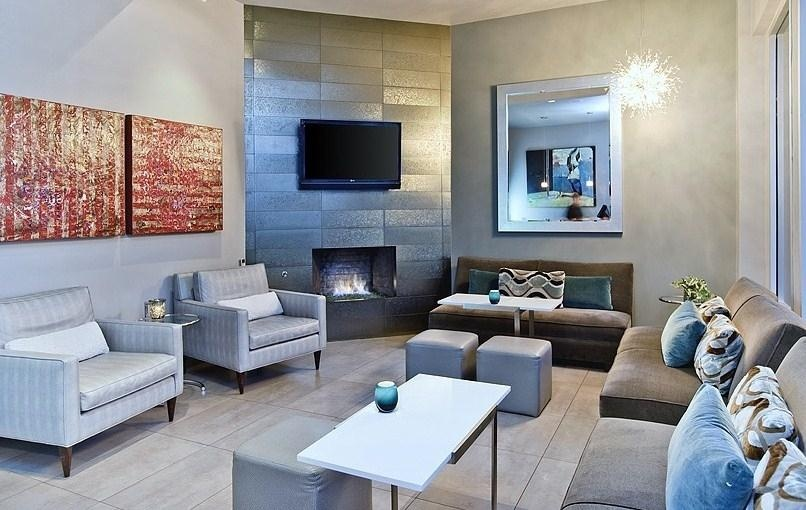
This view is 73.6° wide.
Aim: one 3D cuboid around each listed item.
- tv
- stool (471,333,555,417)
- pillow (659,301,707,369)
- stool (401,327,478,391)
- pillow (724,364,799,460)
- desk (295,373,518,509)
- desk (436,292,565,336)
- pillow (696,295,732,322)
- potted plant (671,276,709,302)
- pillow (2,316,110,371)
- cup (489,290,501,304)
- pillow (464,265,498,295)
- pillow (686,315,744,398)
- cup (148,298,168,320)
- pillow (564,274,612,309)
[{"bbox_3d":[-0.735,-1.290,6.834,1.022,0.648,0.098,0,1,-15],"label":"tv"},{"bbox_3d":[1.049,1.088,5.078,0.660,0.601,0.665,0,0,36],"label":"stool"},{"bbox_3d":[2.289,0.671,4.382,0.192,0.257,0.503,7,6,22],"label":"pillow"},{"bbox_3d":[0.403,0.981,5.156,0.521,0.383,0.517,0,0,26],"label":"stool"},{"bbox_3d":[2.001,0.888,2.988,0.152,0.272,0.432,25,18,17],"label":"pillow"},{"bbox_3d":[0.068,1.349,3.418,0.755,0.775,1.238,6,11,34],"label":"desk"},{"bbox_3d":[1.034,0.650,5.676,1.118,0.559,0.873,1,9,9],"label":"desk"},{"bbox_3d":[2.625,0.454,4.526,0.264,0.083,0.200,-3,3,-35],"label":"pillow"},{"bbox_3d":[2.890,0.345,5.432,0.370,0.127,0.362,3,4,42],"label":"potted plant"},{"bbox_3d":[-2.799,0.733,4.466,0.272,0.281,0.732,15,10,29],"label":"pillow"},{"bbox_3d":[0.927,0.430,5.464,0.127,0.112,0.124,-1,0,0],"label":"cup"},{"bbox_3d":[0.964,0.313,6.546,0.345,0.265,0.129,2,-30,28],"label":"pillow"},{"bbox_3d":[2.257,0.743,3.883,0.210,0.372,0.601,3,0,32],"label":"pillow"},{"bbox_3d":[-2.324,0.518,5.185,0.217,0.202,0.176,-1,7,-37],"label":"cup"},{"bbox_3d":[2.114,0.432,6.103,0.384,0.249,0.140,2,-31,26],"label":"pillow"}]
